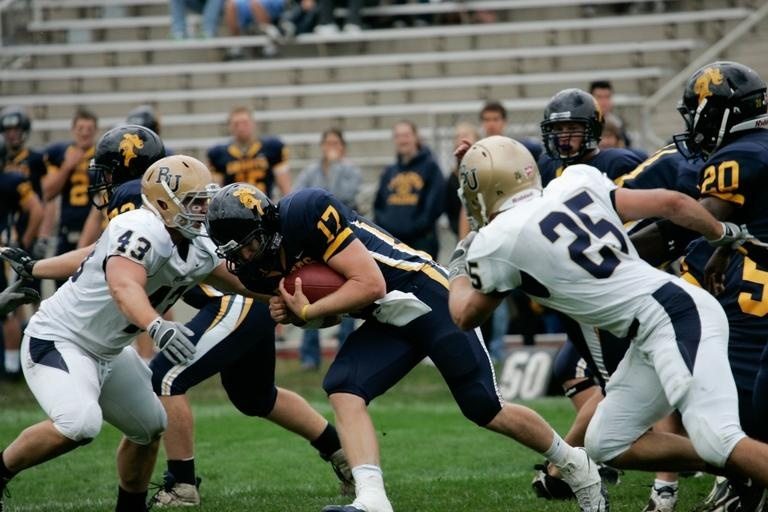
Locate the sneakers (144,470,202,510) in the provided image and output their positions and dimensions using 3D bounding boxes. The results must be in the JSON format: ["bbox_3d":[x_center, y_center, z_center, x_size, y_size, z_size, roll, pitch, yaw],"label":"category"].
[{"bbox_3d":[-1.430,1.658,7.865,0.412,0.245,0.190,2,-14,-7],"label":"sneakers"}]

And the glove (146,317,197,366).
[{"bbox_3d":[-1.343,0.549,7.184,0.248,0.322,0.108,-45,10,-18],"label":"glove"}]

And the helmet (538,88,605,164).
[{"bbox_3d":[1.265,-0.929,8.051,0.376,0.491,0.526,-11,3,32],"label":"helmet"}]

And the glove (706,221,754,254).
[{"bbox_3d":[2.205,-0.121,7.265,0.217,0.101,0.176,-10,-24,-17],"label":"glove"}]

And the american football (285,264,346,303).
[{"bbox_3d":[-0.450,0.169,7.265,0.356,0.218,0.216,-1,9,-7],"label":"american football"}]

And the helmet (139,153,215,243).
[{"bbox_3d":[-1.325,-0.415,7.377,0.548,0.537,0.443,0,-1,3],"label":"helmet"}]
